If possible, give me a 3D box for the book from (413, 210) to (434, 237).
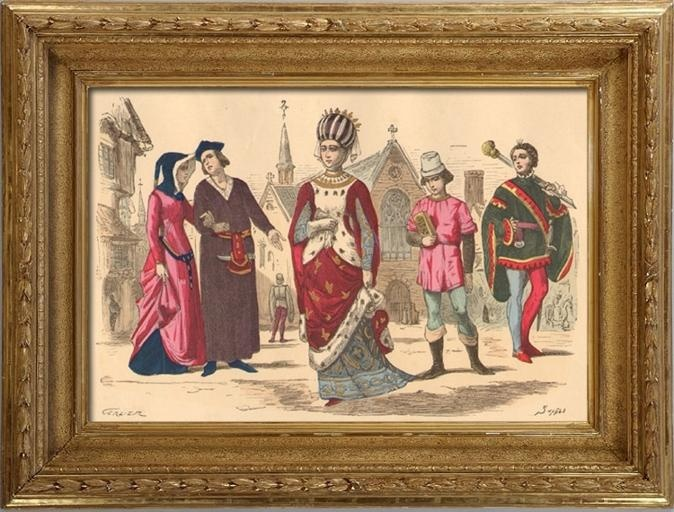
[{"bbox_3d":[0.552,-0.198,9.753,0.157,0.141,0.040,-9,2,15],"label":"book"}]
